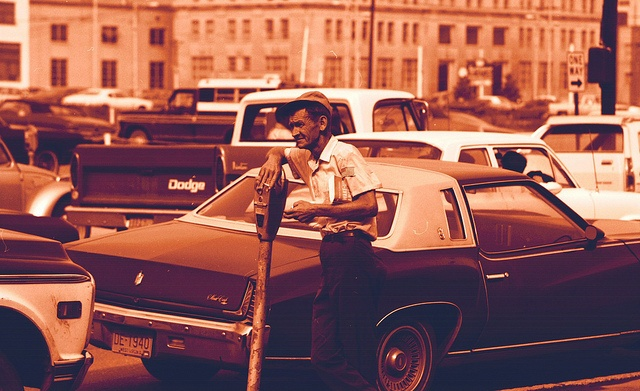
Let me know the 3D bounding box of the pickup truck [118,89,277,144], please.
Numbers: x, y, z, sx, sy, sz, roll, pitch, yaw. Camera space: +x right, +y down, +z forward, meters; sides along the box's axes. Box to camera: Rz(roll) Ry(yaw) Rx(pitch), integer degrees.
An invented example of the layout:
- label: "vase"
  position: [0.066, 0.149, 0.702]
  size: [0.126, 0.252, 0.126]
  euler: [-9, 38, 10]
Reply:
- label: "pickup truck"
  position: [-3.096, -1.824, 21.077]
  size: [3.688, 1.575, 1.688]
  euler: [2, 3, -2]

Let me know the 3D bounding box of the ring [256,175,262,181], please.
- label: "ring"
  position: [-0.521, -0.147, 7.049]
  size: [0.040, 0.037, 0.038]
  euler: [-1, 10, 0]

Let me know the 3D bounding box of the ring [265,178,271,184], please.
- label: "ring"
  position: [-0.441, -0.122, 6.976]
  size: [0.039, 0.039, 0.010]
  euler: [2, -13, 35]

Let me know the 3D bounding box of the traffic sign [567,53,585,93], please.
- label: "traffic sign"
  position: [5.773, -2.811, 18.867]
  size: [0.522, 0.901, 0.315]
  euler: [5, 6, 44]

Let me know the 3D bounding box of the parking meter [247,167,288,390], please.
- label: "parking meter"
  position: [-0.452, 0.718, 7.089]
  size: [0.304, 1.853, 0.305]
  euler: [1, 4, -3]

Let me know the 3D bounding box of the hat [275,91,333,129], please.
- label: "hat"
  position: [-0.150, -0.787, 7.346]
  size: [0.396, 0.212, 0.281]
  euler: [6, -27, -1]
